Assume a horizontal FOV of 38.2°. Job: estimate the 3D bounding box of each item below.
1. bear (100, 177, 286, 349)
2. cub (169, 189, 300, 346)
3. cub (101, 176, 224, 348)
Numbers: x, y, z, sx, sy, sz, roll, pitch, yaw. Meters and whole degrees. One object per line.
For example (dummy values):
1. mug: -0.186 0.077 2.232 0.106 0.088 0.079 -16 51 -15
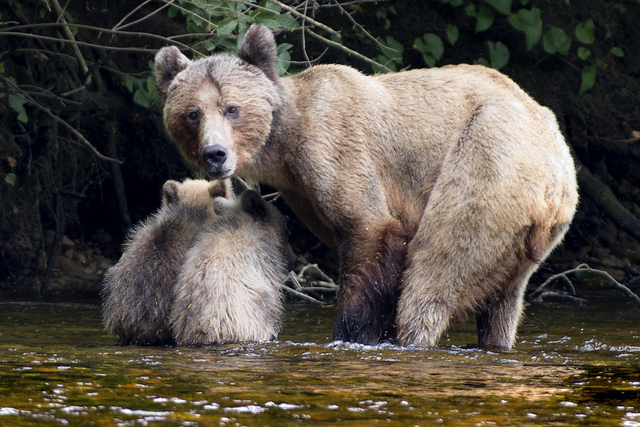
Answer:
1. bear: -1.200 0.508 9.047 1.681 1.550 1.289 1 5 -1
2. cub: -0.808 0.512 8.969 0.723 1.450 1.098 6 7 42
3. cub: -1.607 0.522 9.488 0.775 1.444 1.743 9 -15 -21
